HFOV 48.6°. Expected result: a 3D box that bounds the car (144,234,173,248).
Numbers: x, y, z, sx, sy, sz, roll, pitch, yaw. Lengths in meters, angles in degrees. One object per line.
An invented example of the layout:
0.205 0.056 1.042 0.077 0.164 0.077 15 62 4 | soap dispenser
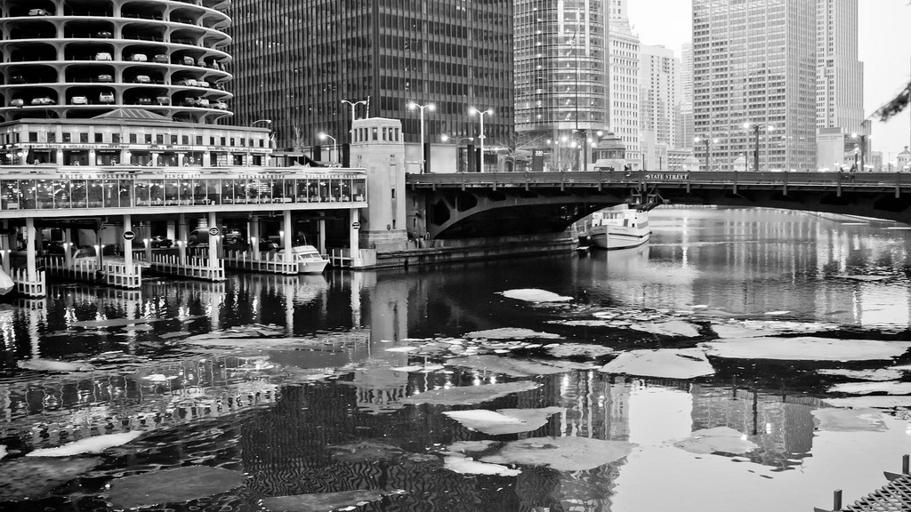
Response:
-44.291 -2.109 151.977 2.234 1.239 4.903 -5 10 -44 | car

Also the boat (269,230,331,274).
-22.421 -0.599 146.671 7.995 5.251 22.804 -3 1 -9 | boat

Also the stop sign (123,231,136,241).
-40.741 -2.569 126.542 1.611 1.427 0.261 9 -26 -39 | stop sign

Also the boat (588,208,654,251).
29.060 -4.555 178.345 6.330 7.269 17.091 -3 -1 -31 | boat
